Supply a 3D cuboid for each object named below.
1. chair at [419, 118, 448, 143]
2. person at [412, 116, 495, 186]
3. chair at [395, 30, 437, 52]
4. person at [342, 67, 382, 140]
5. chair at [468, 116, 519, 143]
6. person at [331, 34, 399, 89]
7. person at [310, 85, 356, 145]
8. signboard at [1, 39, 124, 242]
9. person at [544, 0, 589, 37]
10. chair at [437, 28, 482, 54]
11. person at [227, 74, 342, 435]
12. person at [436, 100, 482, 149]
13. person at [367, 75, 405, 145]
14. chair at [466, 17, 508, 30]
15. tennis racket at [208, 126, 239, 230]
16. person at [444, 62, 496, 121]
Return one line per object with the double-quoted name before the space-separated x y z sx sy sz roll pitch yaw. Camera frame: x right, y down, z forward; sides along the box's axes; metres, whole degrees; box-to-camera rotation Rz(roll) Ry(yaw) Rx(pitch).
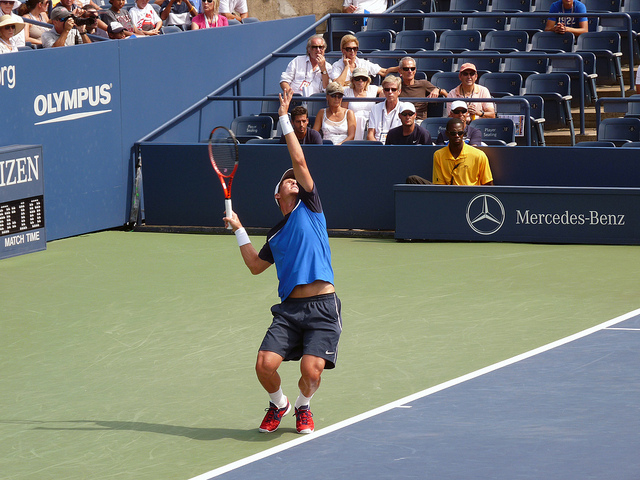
"chair" 1.728 -1.667 13.149 0.419 0.454 0.421 3 20 10
"person" 2.087 -1.265 12.111 0.818 0.960 0.677 -13 18 -35
"chair" 2.018 -4.146 17.599 0.996 0.394 0.403 8 18 36
"person" 0.721 -2.129 13.953 0.873 1.378 0.873 3 11 14
"chair" 2.668 -1.630 13.032 0.622 0.515 0.498 -1 -2 9
"person" 0.848 -3.224 15.424 1.991 0.734 0.856 -4 11 -4
"person" 0.223 -1.932 13.304 0.824 1.007 0.941 2 9 -6
"signboard" -3.874 -1.449 12.569 0.065 3.038 3.233 1 4 29
"person" 4.842 -4.339 16.598 0.837 0.714 1.280 2 15 16
"chair" 2.845 -4.045 17.185 0.869 0.698 0.728 2 8 20
"person" -0.250 0.241 6.453 0.760 2.518 0.810 -4 15 -6
"person" 2.077 -1.642 12.641 0.651 0.867 0.552 0 -11 17
"person" 1.025 -2.048 13.278 0.585 1.003 0.436 -1 15 4
"chair" 3.569 -4.625 18.127 0.868 0.258 0.487 2 15 15
"tennis racket" -0.938 -0.593 8.425 0.306 1.110 0.057 -12 41 -13
"person" 2.387 -2.230 13.615 0.884 1.262 0.711 2 -4 1
